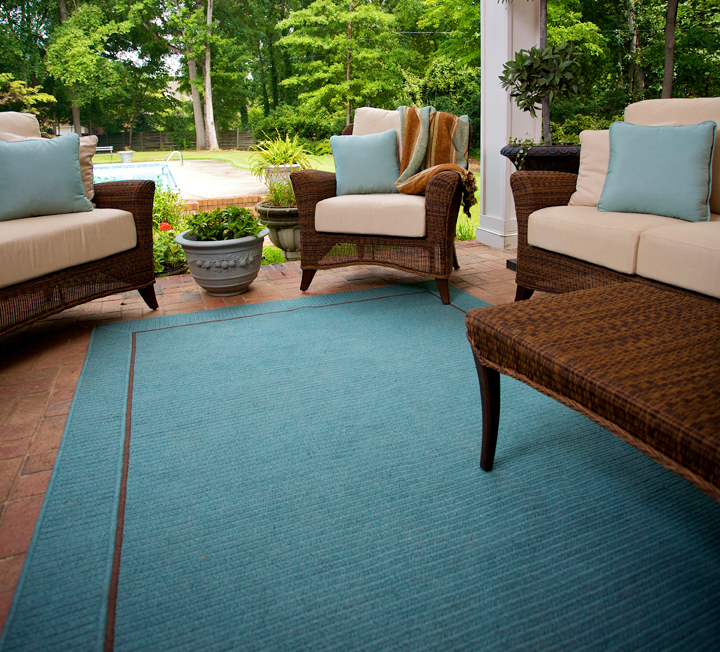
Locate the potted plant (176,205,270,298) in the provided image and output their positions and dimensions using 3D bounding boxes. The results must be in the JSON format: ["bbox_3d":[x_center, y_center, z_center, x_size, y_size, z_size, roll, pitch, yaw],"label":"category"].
[{"bbox_3d":[-0.745,-0.477,3.406,0.644,0.456,0.555,-1,18,-3],"label":"potted plant"}]

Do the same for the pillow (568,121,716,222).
[{"bbox_3d":[1.236,-0.637,2.269,0.147,0.412,0.535,5,6,-45],"label":"pillow"}]

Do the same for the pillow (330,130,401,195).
[{"bbox_3d":[0.043,-1.016,3.443,0.605,0.440,0.188,-2,1,-6],"label":"pillow"}]

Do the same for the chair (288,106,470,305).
[{"bbox_3d":[0.175,-0.792,3.407,1.017,1.101,0.969,6,22,17],"label":"chair"}]
